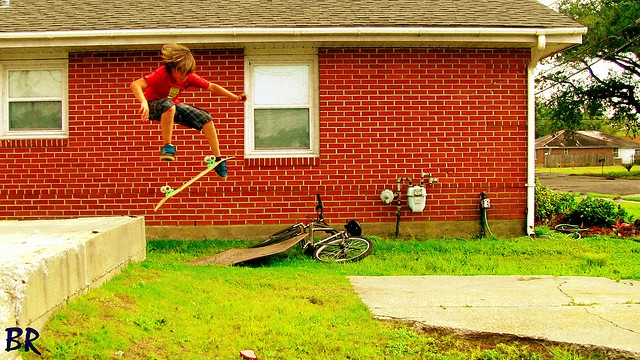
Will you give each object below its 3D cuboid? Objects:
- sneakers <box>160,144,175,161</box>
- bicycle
[{"bbox_3d":[-2.975,-0.519,13.721,0.257,0.167,0.444,4,-10,-20],"label":"sneakers"},{"bbox_3d":[-0.153,1.035,15.267,2.731,1.123,1.453,-3,11,-6],"label":"bicycle"}]
